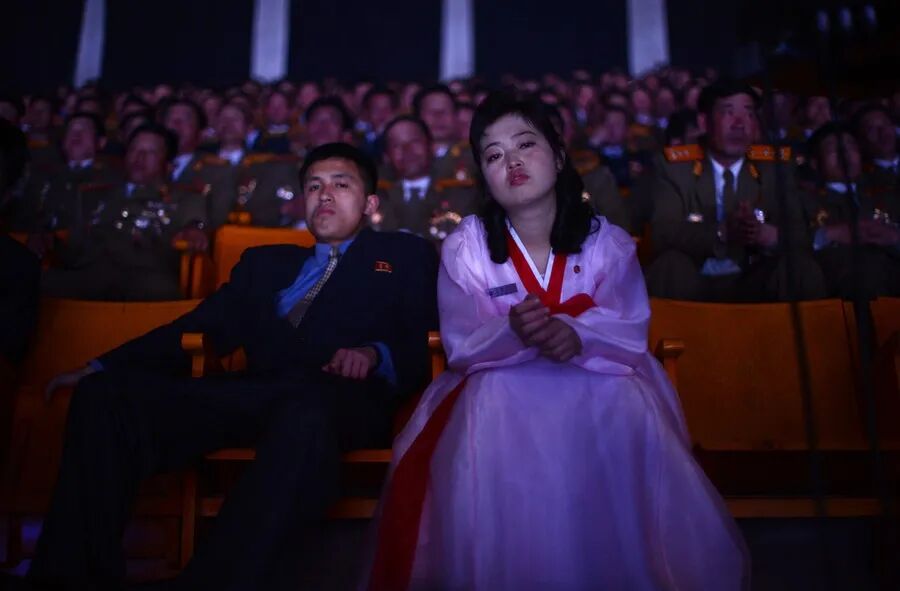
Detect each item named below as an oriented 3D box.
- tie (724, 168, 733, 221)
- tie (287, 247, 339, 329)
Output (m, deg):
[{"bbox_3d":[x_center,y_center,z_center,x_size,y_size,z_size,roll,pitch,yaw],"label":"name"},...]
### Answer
[{"bbox_3d":[1.502,-0.564,3.868,0.050,0.257,0.068,0,-22,8],"label":"tie"},{"bbox_3d":[-0.522,-0.023,2.877,0.101,0.394,0.054,19,-30,15],"label":"tie"}]
